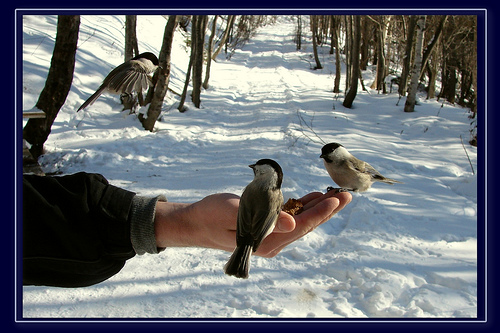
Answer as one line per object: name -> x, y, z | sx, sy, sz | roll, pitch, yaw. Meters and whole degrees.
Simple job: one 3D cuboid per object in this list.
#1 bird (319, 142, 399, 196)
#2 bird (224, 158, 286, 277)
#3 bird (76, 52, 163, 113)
bird -> 1.289, 0.023, 5.256 | 1.061, 0.631, 0.390 | -2, 3, -25
bird -> 0.069, 0.409, 3.826 | 0.375, 0.443, 1.097 | 21, 50, 5
bird -> -1.965, -1.339, 6.741 | 1.429, 0.609, 0.925 | -17, 15, -21
